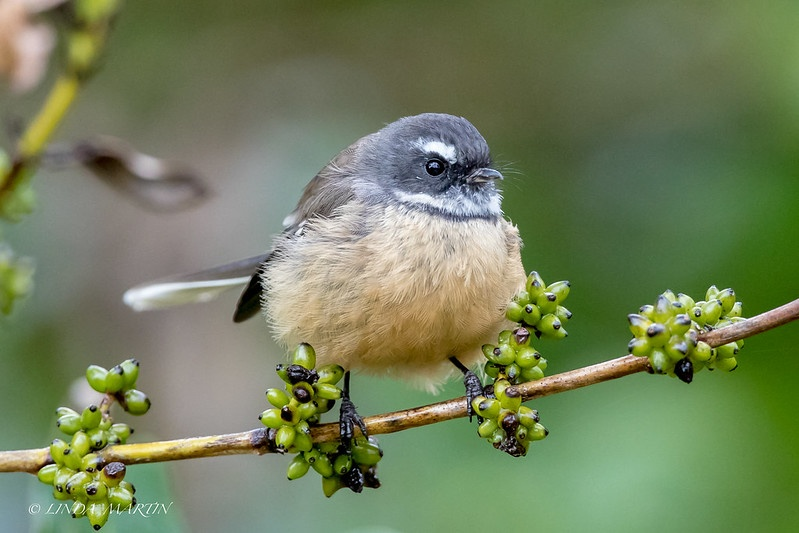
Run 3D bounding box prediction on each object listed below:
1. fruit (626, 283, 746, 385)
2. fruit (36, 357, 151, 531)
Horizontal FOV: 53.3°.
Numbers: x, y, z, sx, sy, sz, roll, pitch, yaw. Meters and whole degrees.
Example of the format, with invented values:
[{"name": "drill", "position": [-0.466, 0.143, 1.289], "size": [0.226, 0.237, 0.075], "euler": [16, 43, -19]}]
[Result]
[{"name": "fruit", "position": [1.076, 0.276, 3.089], "size": [0.416, 0.287, 0.353], "euler": [11, -23, -3]}, {"name": "fruit", "position": [-1.188, 0.681, 3.154], "size": [0.372, 0.663, 0.229], "euler": [20, -31, -14]}]
